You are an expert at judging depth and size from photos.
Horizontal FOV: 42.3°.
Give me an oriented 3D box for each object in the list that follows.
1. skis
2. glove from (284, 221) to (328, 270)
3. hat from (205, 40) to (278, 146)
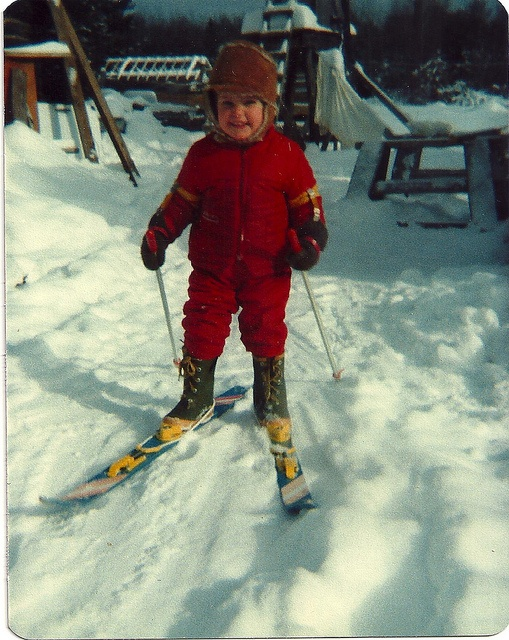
[{"bbox_3d":[-0.354,0.620,3.044,1.016,0.099,0.112,-26,31,-24],"label":"skis"},{"bbox_3d":[0.225,-0.339,3.006,0.199,0.223,0.090,-10,11,-31],"label":"glove"},{"bbox_3d":[-0.058,-1.040,2.967,0.345,0.413,0.370,15,25,22],"label":"hat"}]
